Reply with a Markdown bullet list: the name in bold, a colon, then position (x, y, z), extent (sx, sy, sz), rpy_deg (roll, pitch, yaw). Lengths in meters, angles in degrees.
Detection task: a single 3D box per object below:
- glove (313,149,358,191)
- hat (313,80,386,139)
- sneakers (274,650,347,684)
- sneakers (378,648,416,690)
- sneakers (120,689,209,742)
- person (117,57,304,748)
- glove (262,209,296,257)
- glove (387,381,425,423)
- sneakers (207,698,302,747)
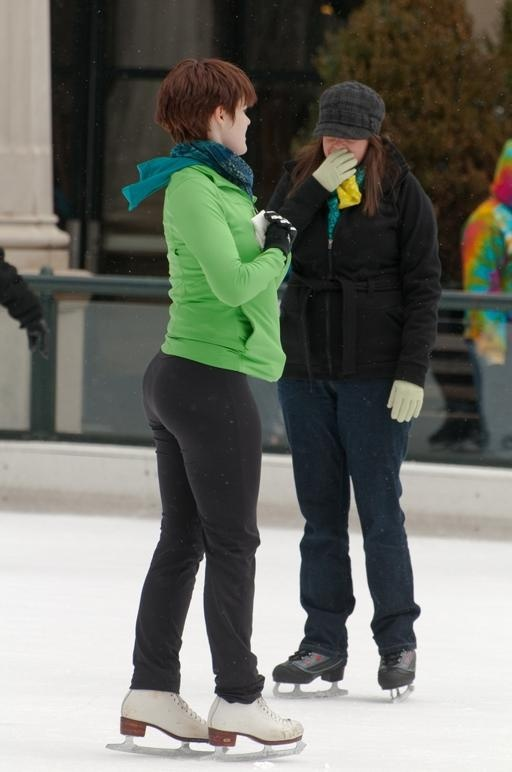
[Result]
- **glove**: position (0.243, -0.630, 3.412), extent (0.148, 0.127, 0.060), rpy_deg (-3, 8, -33)
- **hat**: position (0.271, -0.812, 3.436), extent (0.148, 0.130, 0.217), rpy_deg (7, 13, 22)
- **sneakers**: position (0.161, 0.838, 3.516), extent (0.216, 0.105, 0.086), rpy_deg (5, -11, -15)
- **sneakers**: position (0.412, 0.826, 3.418), extent (0.106, 0.100, 0.119), rpy_deg (3, 7, 6)
- **sneakers**: position (-0.235, 0.802, 2.879), extent (0.282, 0.145, 0.097), rpy_deg (4, -5, -15)
- **person**: position (-0.094, 0.067, 2.850), extent (0.463, 1.711, 0.304), rpy_deg (1, 7, -8)
- **glove**: position (0.058, -0.380, 2.851), extent (0.081, 0.037, 0.105), rpy_deg (29, 37, -17)
- **glove**: position (0.437, 0.040, 3.431), extent (0.115, 0.110, 0.033), rpy_deg (4, 20, -28)
- **sneakers**: position (-0.006, 0.813, 2.903), extent (0.271, 0.148, 0.094), rpy_deg (-1, -3, -11)
